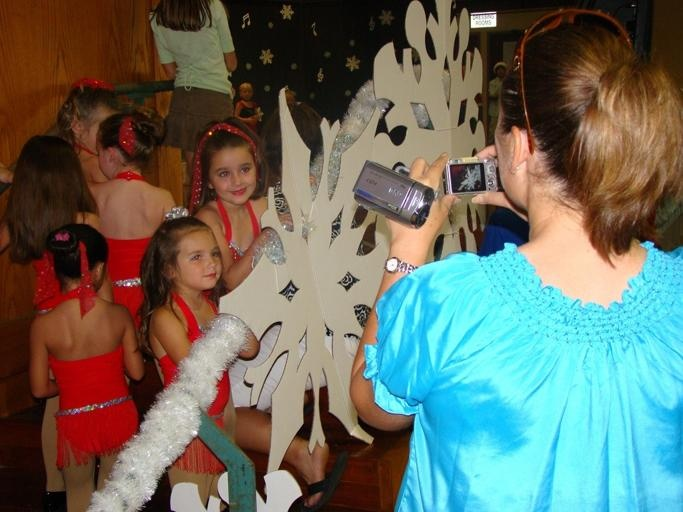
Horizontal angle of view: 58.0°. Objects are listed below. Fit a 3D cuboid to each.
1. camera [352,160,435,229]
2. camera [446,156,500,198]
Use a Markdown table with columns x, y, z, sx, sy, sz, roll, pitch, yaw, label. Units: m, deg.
| x | y | z | sx | sy | sz | roll | pitch | yaw | label |
| --- | --- | --- | --- | --- | --- | --- | --- | --- | --- |
| 0.118 | -0.128 | 1.398 | 0.182 | 0.120 | 0.079 | 27 | 7 | 34 | camera |
| 0.324 | -0.183 | 1.441 | 0.174 | 0.091 | 0.109 | -3 | 17 | -27 | camera |
